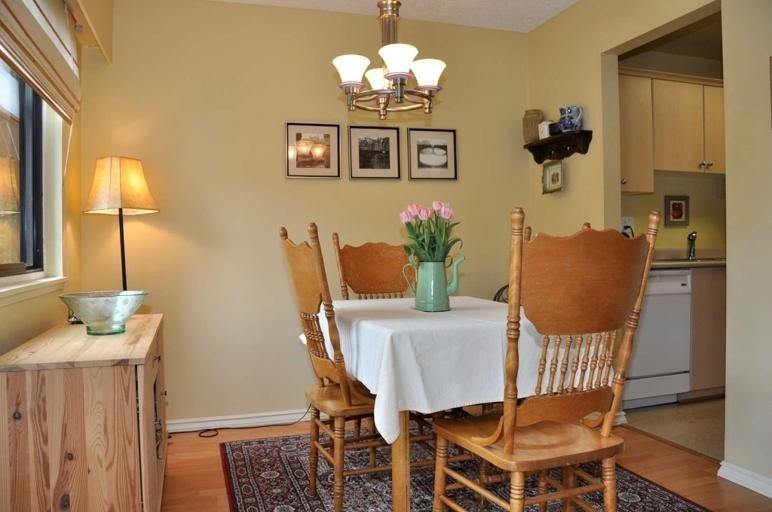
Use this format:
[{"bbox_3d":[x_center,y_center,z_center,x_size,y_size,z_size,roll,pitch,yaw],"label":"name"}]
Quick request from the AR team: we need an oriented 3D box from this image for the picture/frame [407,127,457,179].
[{"bbox_3d":[0.362,-0.865,4.738,0.444,0.430,0.018,-1,2,-9],"label":"picture/frame"}]

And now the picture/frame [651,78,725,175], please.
[{"bbox_3d":[2.756,-1.080,5.058,0.930,0.866,0.298,4,-4,-2],"label":"picture/frame"}]

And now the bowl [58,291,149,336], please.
[{"bbox_3d":[-1.519,0.317,3.073,0.438,0.206,0.439,-4,-1,0],"label":"bowl"}]

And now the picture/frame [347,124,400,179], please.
[{"bbox_3d":[-0.127,-0.854,4.619,0.459,0.459,0.022,1,-4,-21],"label":"picture/frame"}]

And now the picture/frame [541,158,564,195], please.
[{"bbox_3d":[1.398,-0.658,4.705,0.056,0.267,0.250,-4,6,-24],"label":"picture/frame"}]

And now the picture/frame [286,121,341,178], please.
[{"bbox_3d":[-0.605,-0.847,4.489,0.444,0.474,0.032,3,-1,-13],"label":"picture/frame"}]

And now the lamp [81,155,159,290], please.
[{"bbox_3d":[-1.874,-0.235,3.995,0.459,0.953,0.464,-5,7,-27],"label":"lamp"}]

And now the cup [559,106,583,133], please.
[{"bbox_3d":[1.447,-1.072,4.434,0.162,0.201,0.081,1,6,22],"label":"cup"}]

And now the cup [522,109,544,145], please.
[{"bbox_3d":[1.282,-1.125,4.900,0.189,0.289,0.195,-2,17,1],"label":"cup"}]

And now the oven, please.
[{"bbox_3d":[2.331,0.672,4.779,0.721,0.954,0.704,3,-5,-32],"label":"oven"}]
